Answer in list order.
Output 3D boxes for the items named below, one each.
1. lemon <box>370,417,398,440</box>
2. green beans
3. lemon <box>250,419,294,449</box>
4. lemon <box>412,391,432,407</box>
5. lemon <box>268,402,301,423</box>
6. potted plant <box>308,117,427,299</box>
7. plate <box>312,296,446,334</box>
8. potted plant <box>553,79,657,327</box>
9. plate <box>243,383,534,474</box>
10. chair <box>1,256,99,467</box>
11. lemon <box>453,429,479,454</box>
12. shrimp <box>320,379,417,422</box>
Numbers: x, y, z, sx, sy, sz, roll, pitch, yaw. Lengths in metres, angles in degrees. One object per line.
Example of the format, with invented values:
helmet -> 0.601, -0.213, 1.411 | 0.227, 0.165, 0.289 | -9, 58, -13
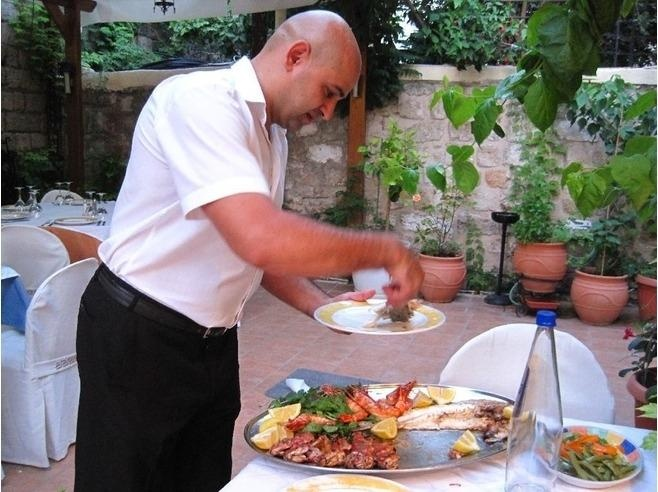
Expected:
lemon -> 0.164, 0.505, 1.566 | 0.052, 0.023, 0.056 | 10, 20, 31
green beans -> 0.718, 0.541, 1.530 | 0.164, 0.095, 0.174 | -1, 7, -18
lemon -> -0.165, 0.522, 1.541 | 0.055, 0.027, 0.079 | 4, 25, 42
lemon -> 0.281, 0.462, 1.710 | 0.034, 0.016, 0.043 | 9, 21, 42
lemon -> -0.128, 0.485, 1.635 | 0.065, 0.027, 0.049 | -16, 22, -1
potted plant -> 0.487, -0.470, 6.538 | 0.879, 1.948, 1.359 | 2, 9, 8
plate -> 0.157, 0.228, 1.771 | 0.335, 0.127, 0.336 | -2, 10, -22
potted plant -> 2.320, -0.288, 4.682 | 0.648, 2.516, 1.156 | 4, 11, 18
plate -> 0.108, 0.427, 1.772 | 0.728, 0.157, 0.665 | -2, 8, -14
chair -> -1.570, 0.661, 3.291 | 0.658, 1.171, 0.643 | 14, 18, 42
lemon -> 0.371, 0.526, 1.507 | 0.041, 0.021, 0.060 | 22, 24, 19
shrimp -> 0.132, 0.436, 1.706 | 0.212, 0.093, 0.203 | 10, 10, 23
